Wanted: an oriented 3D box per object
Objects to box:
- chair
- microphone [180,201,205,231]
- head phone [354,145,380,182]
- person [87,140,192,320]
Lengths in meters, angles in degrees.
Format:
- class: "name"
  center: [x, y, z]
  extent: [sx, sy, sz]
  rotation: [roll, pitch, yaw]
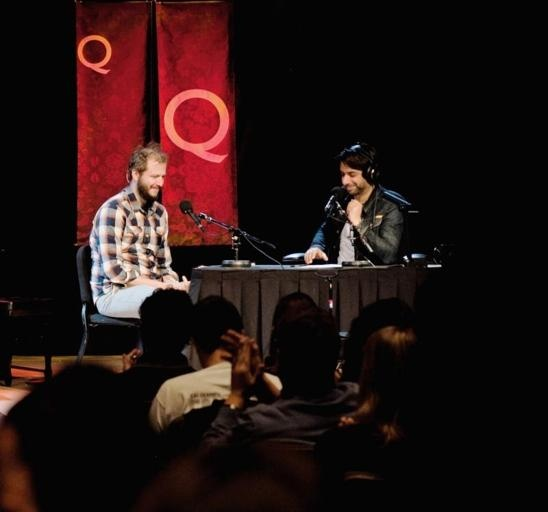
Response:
- class: "chair"
  center: [-1.009, 0.257, 3.420]
  extent: [0.452, 0.694, 0.475]
  rotation: [3, 13, 4]
- class: "microphone"
  center: [-0.565, -0.269, 3.757]
  extent: [0.088, 0.083, 0.332]
  rotation: [35, 18, -45]
- class: "head phone"
  center: [0.591, -0.607, 3.505]
  extent: [0.137, 0.277, 0.378]
  rotation: [1, -3, 9]
- class: "person"
  center: [-0.720, -0.143, 3.298]
  extent: [0.634, 1.059, 0.673]
  rotation: [0, 7, -26]
